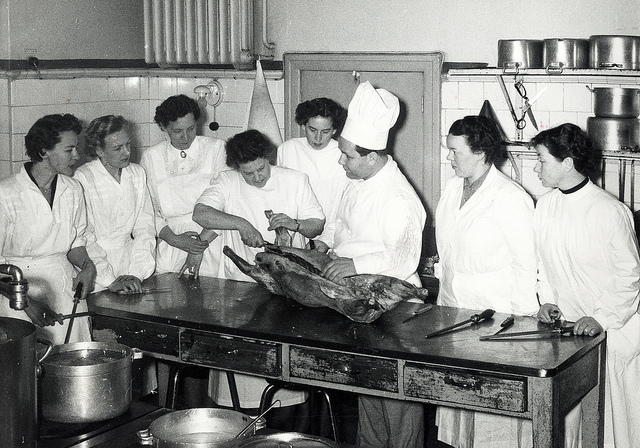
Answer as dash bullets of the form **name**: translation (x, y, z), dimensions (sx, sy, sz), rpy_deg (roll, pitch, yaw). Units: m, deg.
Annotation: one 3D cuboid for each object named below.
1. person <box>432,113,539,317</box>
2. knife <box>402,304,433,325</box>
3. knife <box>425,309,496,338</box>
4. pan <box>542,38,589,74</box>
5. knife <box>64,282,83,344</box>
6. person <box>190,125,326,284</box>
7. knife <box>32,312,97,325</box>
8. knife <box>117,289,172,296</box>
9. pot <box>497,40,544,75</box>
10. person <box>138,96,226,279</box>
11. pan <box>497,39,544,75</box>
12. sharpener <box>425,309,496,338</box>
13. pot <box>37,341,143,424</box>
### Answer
- **person**: translation (0.978, -0.046, 4.356), dimensions (0.663, 1.152, 0.319), rpy_deg (4, 6, 26)
- **knife**: translation (0.530, 0.495, 4.013), dimensions (0.147, 0.020, 0.020), rpy_deg (-22, 47, -27)
- **knife**: translation (0.754, 0.512, 3.850), dimensions (0.438, 0.059, 0.060), rpy_deg (-15, 14, -28)
- **pan**: translation (1.721, -1.187, 5.228), dimensions (0.210, 0.237, 0.319), rpy_deg (-16, 21, -43)
- **knife**: translation (-1.460, 0.523, 4.406), dimensions (0.057, 0.407, 0.031), rpy_deg (9, -31, -4)
- **person**: translation (-0.413, -0.045, 4.964), dimensions (0.911, 1.144, 0.737), rpy_deg (-7, 32, -15)
- **knife**: translation (-1.429, 0.521, 4.152), dimensions (0.603, 0.084, 0.046), rpy_deg (-4, 5, 43)
- **knife**: translation (-1.037, 0.406, 4.433), dimensions (0.315, 0.029, 0.089), rpy_deg (0, 6, -17)
- **pot**: translation (1.456, -1.205, 5.393), dimensions (0.309, 0.247, 0.099), rpy_deg (3, 6, 16)
- **person**: translation (-1.029, -0.061, 5.682), dimensions (0.706, 1.785, 0.639), rpy_deg (-8, 35, -19)
- **pan**: translation (1.437, -1.214, 5.380), dimensions (0.217, 0.244, 0.349), rpy_deg (-14, 21, -40)
- **sharpener**: translation (0.754, 0.514, 3.849), dimensions (0.439, 0.063, 0.060), rpy_deg (-15, 11, -27)
- **pot**: translation (-1.017, 0.704, 3.309), dimensions (0.480, 0.246, 0.377), rpy_deg (0, 3, -9)
